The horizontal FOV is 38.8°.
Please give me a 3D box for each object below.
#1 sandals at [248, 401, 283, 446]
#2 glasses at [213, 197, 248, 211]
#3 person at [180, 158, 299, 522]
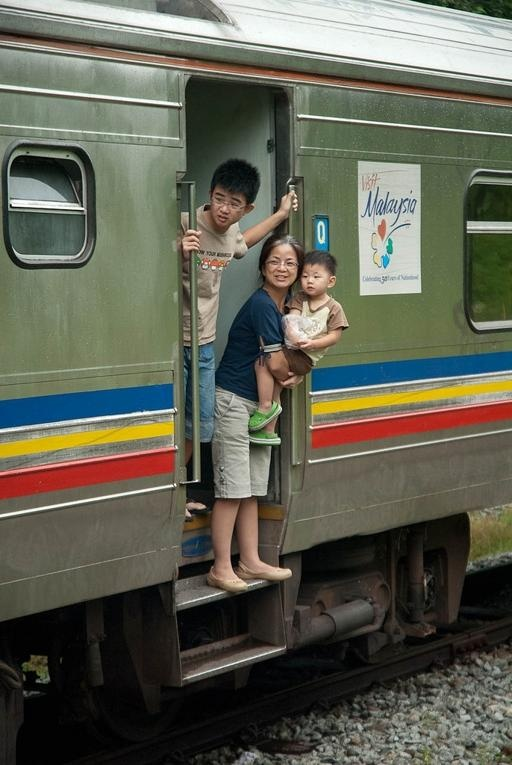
[{"bbox_3d":[0.038,0.214,3.515,0.087,0.133,0.279,0,7,27],"label":"sandals"},{"bbox_3d":[-0.123,-0.809,3.315,0.129,0.055,0.040,1,-3,-10],"label":"glasses"},{"bbox_3d":[-0.215,-0.193,3.504,0.716,1.691,0.580,3,-4,-43],"label":"person"}]
